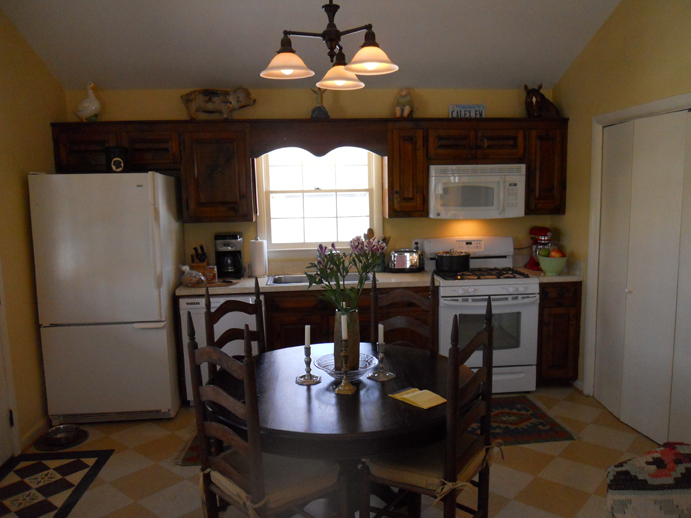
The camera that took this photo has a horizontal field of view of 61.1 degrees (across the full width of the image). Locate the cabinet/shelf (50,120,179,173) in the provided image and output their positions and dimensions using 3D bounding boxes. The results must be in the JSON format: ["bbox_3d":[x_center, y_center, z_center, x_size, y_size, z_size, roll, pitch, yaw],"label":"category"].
[{"bbox_3d":[-2.022,-0.902,5.248,1.107,0.655,0.334,-4,21,-20],"label":"cabinet/shelf"}]

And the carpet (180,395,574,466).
[{"bbox_3d":[0.411,1.539,5.804,3.510,0.089,2.348,-4,-7,14],"label":"carpet"}]

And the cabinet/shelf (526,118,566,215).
[{"bbox_3d":[1.979,-0.884,5.560,0.456,0.841,0.415,7,8,38],"label":"cabinet/shelf"}]

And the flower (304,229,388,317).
[{"bbox_3d":[-0.055,0.134,3.617,0.392,0.566,0.499,9,-3,30],"label":"flower"}]

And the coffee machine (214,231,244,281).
[{"bbox_3d":[-1.054,-0.023,5.381,0.257,0.419,0.230,-4,-1,0],"label":"coffee machine"}]

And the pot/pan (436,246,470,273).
[{"bbox_3d":[0.968,0.003,5.392,0.235,0.156,0.217,-1,2,-5],"label":"pot/pan"}]

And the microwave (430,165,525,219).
[{"bbox_3d":[1.216,-0.624,5.335,0.795,0.502,0.503,0,5,-1],"label":"microwave"}]

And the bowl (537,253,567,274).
[{"bbox_3d":[1.871,0.040,5.254,0.180,0.125,0.179,0,-1,0],"label":"bowl"}]

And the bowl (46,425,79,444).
[{"bbox_3d":[-2.246,1.373,4.619,0.220,0.087,0.225,-2,6,0],"label":"bowl"}]

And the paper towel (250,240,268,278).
[{"bbox_3d":[-0.803,-0.013,5.432,0.173,0.338,0.177,-5,6,-19],"label":"paper towel"}]
